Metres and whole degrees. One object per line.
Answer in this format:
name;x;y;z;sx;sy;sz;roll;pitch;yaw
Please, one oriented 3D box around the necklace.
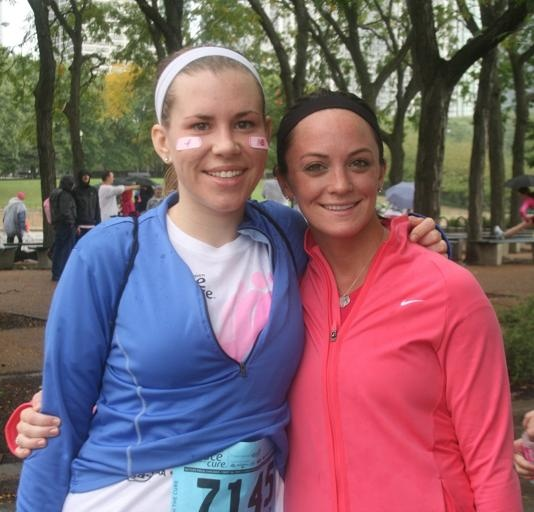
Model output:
necklace;0.390;0.070;2.998;0.187;0.329;0.075;17;-21;4
